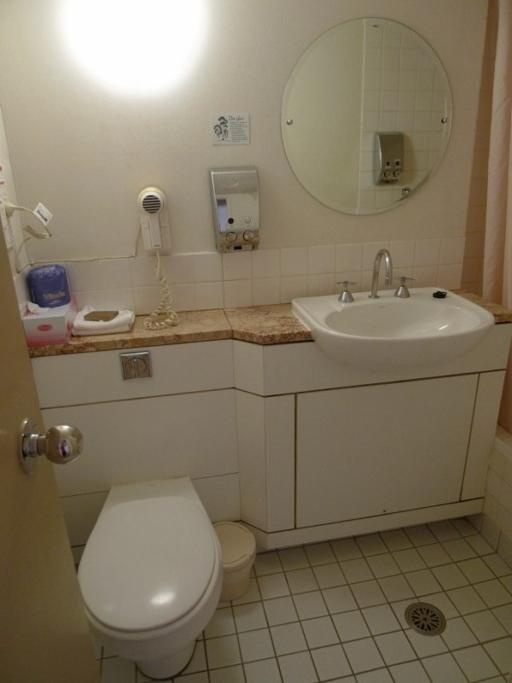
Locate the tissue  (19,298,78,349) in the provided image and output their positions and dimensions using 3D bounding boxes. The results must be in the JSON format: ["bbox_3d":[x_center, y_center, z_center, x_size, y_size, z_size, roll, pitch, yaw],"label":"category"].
[{"bbox_3d":[-0.635,-0.076,1.531,0.131,0.109,0.214,-8,22,-15],"label":"tissue "}]

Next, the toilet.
[{"bbox_3d":[-0.262,0.566,1.352,0.287,0.342,0.548,-4,25,-7],"label":"toilet"}]

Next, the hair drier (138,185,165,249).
[{"bbox_3d":[-0.337,-0.398,1.628,0.088,0.204,0.062,-7,20,-14],"label":"hair drier"}]

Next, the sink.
[{"bbox_3d":[0.436,-0.051,1.630,0.594,0.141,0.473,-6,21,-9],"label":"sink"}]

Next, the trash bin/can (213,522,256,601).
[{"bbox_3d":[-0.072,0.746,1.665,0.123,0.158,0.168,6,26,11],"label":"trash bin/can"}]

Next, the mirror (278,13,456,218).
[{"bbox_3d":[0.370,-0.750,1.688,0.570,0.748,0.049,3,-11,12],"label":"mirror"}]
